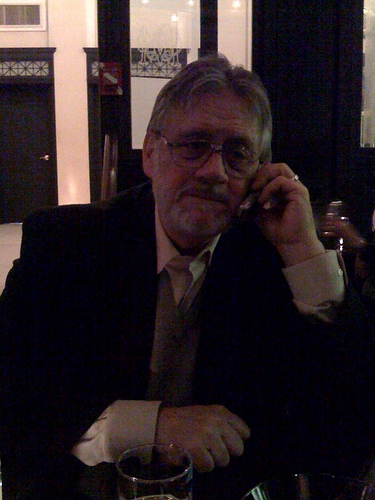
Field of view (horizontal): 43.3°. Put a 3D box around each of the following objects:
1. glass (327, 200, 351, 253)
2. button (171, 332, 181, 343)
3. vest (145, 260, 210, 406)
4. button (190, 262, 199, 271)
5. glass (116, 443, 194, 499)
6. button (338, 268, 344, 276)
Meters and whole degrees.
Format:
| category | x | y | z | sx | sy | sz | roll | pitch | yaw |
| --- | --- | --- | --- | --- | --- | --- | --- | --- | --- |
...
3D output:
| category | x | y | z | sx | sy | sz | roll | pitch | yaw |
| --- | --- | --- | --- | --- | --- | --- | --- | --- | --- |
| glass | 0.539 | -0.098 | 1.630 | 0.088 | 0.110 | 0.235 | 5 | 32 | 26 |
| button | -0.028 | 0.222 | 1.217 | 0.019 | 0.023 | 0.005 | -13 | -2 | -28 |
| vest | -0.032 | 0.213 | 1.213 | 0.096 | 0.486 | 0.028 | 5 | 34 | -2 |
| button | 0.018 | 0.042 | 1.216 | 0.004 | 0.020 | 0.019 | 9 | 55 | 31 |
| glass | -0.035 | 0.235 | 0.486 | 0.078 | 0.046 | 0.066 | 4 | 11 | -9 |
| button | 0.370 | 0.053 | 1.150 | 0.013 | 0.014 | 0.003 | -12 | -17 | -35 |
